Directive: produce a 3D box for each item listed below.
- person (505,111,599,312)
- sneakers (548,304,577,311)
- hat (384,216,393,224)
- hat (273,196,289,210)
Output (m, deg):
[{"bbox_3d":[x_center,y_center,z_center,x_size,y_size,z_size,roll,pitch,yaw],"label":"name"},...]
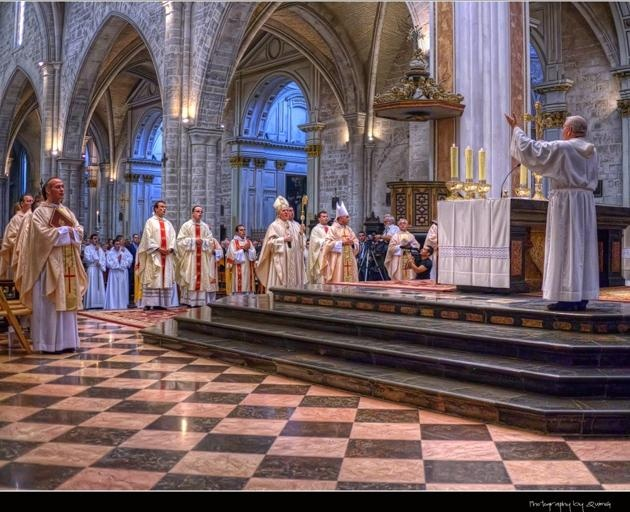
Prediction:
[{"bbox_3d":[2.051,-0.370,5.666,0.689,1.467,0.427,1,7,16],"label":"person"},{"bbox_3d":[2.142,0.428,5.762,0.194,0.070,0.091,4,0,18],"label":"sneakers"},{"bbox_3d":[1.391,-0.679,12.525,0.131,0.130,0.168,-3,-5,27],"label":"hat"},{"bbox_3d":[-0.566,-0.861,10.989,0.400,0.188,0.422,-8,3,-3],"label":"hat"}]
